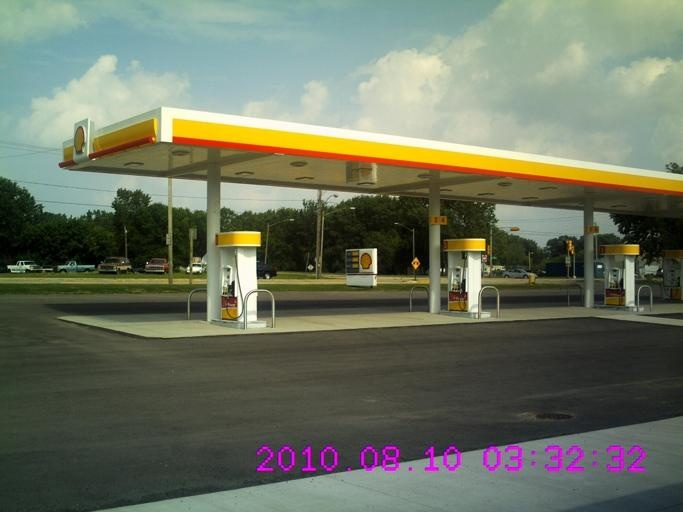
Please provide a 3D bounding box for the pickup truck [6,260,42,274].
[{"bbox_3d":[-35.409,1.139,76.617,3.428,1.053,7.031,0,1,-22],"label":"pickup truck"}]

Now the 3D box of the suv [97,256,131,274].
[{"bbox_3d":[-23.523,0.953,71.473,1.925,1.349,3.219,-3,-8,13],"label":"suv"}]

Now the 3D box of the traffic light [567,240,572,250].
[{"bbox_3d":[19.391,-0.874,58.068,0.268,0.678,0.901,0,1,19],"label":"traffic light"}]

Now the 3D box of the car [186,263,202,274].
[{"bbox_3d":[-14.322,1.248,66.795,1.450,0.961,2.572,0,-2,-3],"label":"car"}]

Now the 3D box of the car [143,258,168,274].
[{"bbox_3d":[-20.266,0.960,75.821,1.974,1.511,3.336,-1,-4,-1],"label":"car"}]

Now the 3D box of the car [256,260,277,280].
[{"bbox_3d":[-6.579,1.395,61.135,1.964,0.907,1.015,5,-5,-20],"label":"car"}]
